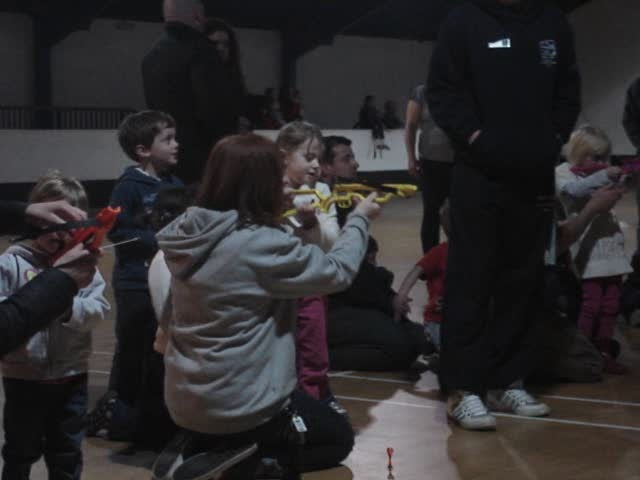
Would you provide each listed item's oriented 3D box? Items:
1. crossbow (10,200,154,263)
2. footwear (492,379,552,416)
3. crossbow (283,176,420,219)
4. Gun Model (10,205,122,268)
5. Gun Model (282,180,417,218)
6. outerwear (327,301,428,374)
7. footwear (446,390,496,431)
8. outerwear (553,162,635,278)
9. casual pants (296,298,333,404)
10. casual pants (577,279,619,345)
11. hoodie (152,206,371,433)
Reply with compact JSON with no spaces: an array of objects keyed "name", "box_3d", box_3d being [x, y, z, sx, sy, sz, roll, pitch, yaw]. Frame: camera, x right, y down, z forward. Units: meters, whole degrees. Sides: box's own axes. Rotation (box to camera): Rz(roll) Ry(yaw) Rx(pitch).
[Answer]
[{"name":"crossbow","box_3d":[-0.925,-0.017,2.326,0.392,0.144,0.340,-23,22,-29]},{"name":"footwear","box_3d":[0.884,0.723,2.827,0.294,0.121,0.116,-3,-5,28]},{"name":"crossbow","box_3d":[0.109,-0.178,2.629,0.589,0.148,0.076,0,15,18]},{"name":"Gun Model","box_3d":[-0.912,-0.008,2.291,0.252,0.200,0.092,-33,-8,4]},{"name":"Gun Model","box_3d":[0.109,-0.175,2.621,0.551,0.127,0.065,1,0,25]},{"name":"outerwear","box_3d":[0.322,0.599,3.549,0.611,0.204,0.607,-11,-2,14]},{"name":"footwear","box_3d":[0.667,0.762,2.756,0.198,0.130,0.174,2,14,5]},{"name":"outerwear","box_3d":[1.324,-0.126,3.200,0.456,0.582,0.183,-4,19,-15]},{"name":"casual pants","box_3d":[-0.043,0.501,2.822,0.187,0.490,0.125,-2,27,-5]},{"name":"casual pants","box_3d":[1.479,0.362,3.293,0.163,0.537,0.144,4,42,30]},{"name":"hoodie","box_3d":[-0.188,0.258,2.455,0.829,0.766,0.800,-4,2,9]}]
